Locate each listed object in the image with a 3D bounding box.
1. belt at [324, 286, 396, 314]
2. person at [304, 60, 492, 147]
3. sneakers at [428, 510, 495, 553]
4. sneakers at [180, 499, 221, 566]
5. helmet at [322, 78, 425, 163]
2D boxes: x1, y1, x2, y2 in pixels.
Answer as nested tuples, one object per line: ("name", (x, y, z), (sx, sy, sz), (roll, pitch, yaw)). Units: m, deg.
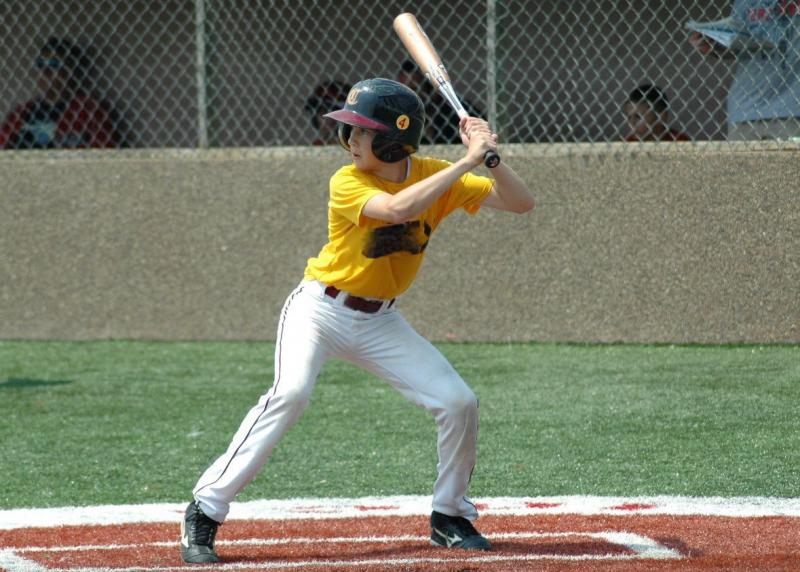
("belt", (-0.223, 0.079, 8.417), (0.188, 0.047, 0.183), (20, -1, 21))
("person", (-0.040, -1.177, 10.809), (0.984, 0.556, 0.634), (6, 4, -2))
("sneakers", (0.302, 1.254, 8.431), (0.347, 0.175, 0.145), (2, 0, 17))
("sneakers", (-1.017, 1.215, 8.324), (0.125, 0.164, 0.368), (12, 34, -36))
("helmet", (-0.156, -0.838, 8.493), (0.474, 0.406, 0.356), (3, -1, -23))
